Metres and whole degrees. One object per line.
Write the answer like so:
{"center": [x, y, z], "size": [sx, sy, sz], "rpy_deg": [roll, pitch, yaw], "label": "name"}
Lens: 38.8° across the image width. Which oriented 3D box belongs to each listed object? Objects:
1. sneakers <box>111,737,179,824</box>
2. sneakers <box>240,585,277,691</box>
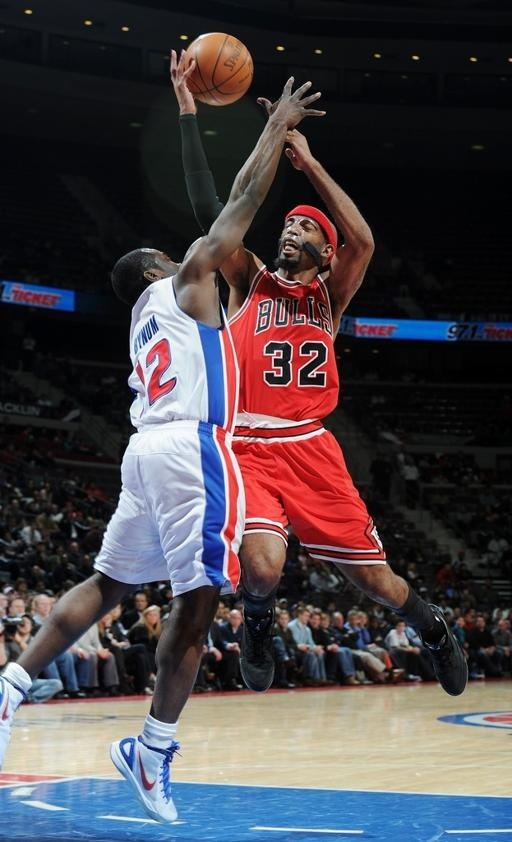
{"center": [-0.319, 1.025, 2.053], "size": [0.188, 0.279, 0.135], "rpy_deg": [4, 4, -10], "label": "sneakers"}
{"center": [0.007, 0.970, 3.143], "size": [0.165, 0.501, 0.202], "rpy_deg": [0, 15, 3], "label": "sneakers"}
